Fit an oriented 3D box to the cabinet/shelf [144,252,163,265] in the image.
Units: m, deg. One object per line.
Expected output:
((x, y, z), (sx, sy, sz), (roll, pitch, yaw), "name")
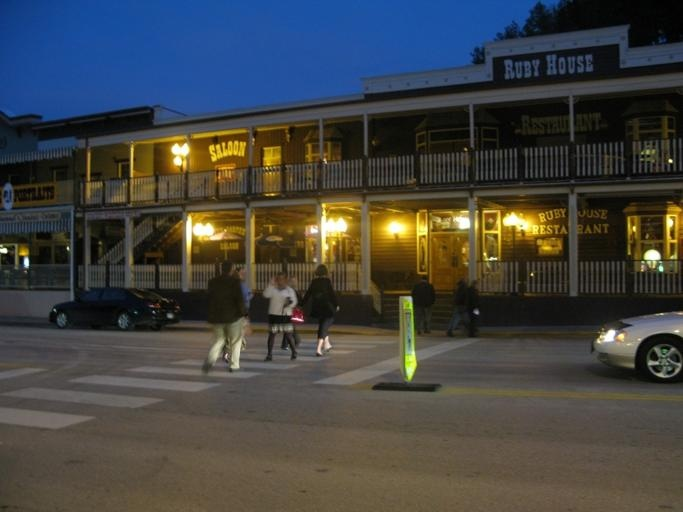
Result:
((-8.839, 0.104, 34.281), (0.714, 0.540, 0.700), (-2, 3, -28), "cabinet/shelf")

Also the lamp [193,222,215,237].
((-5.540, -1.053, 29.504), (0.626, 0.687, 0.297), (-7, -7, 7), "lamp")

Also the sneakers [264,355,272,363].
((-1.668, 2.359, 16.709), (0.129, 0.154, 0.133), (2, -5, -25), "sneakers")

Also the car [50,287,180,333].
((-7.902, 1.833, 25.228), (4.354, 1.445, 0.881), (0, -3, 23), "car")

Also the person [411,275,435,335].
((2.576, 1.553, 23.142), (0.676, 1.829, 0.751), (1, -3, 5), "person")

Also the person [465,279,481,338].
((4.037, 1.614, 22.423), (0.318, 1.762, 0.745), (1, -3, 10), "person")

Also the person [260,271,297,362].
((-1.435, 1.411, 17.071), (0.797, 2.050, 1.131), (1, -3, -4), "person")
